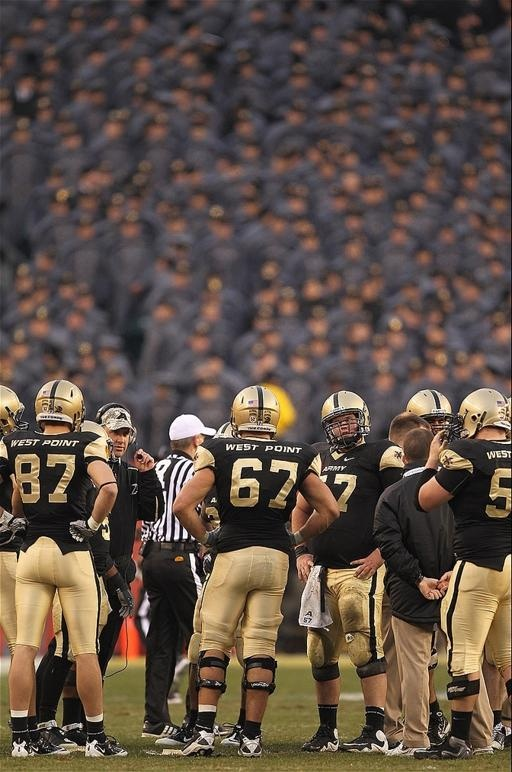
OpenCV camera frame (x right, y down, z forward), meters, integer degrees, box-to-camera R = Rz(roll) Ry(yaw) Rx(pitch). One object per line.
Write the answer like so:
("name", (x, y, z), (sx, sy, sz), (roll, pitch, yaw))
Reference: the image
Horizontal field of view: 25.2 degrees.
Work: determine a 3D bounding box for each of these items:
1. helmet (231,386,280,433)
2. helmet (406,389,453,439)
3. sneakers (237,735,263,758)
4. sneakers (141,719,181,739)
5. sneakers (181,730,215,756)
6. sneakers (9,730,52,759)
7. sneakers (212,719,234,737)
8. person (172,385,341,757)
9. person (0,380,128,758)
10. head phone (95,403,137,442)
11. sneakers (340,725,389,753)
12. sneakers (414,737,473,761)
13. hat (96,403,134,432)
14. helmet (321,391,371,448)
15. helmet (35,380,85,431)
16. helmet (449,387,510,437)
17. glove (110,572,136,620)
("helmet", (0.000, 0.139, 6.754), (0.316, 0.305, 0.406), (3, -5, -11))
("helmet", (1.102, 0.151, 7.326), (0.260, 0.287, 0.312), (1, 5, -32))
("sneakers", (-0.040, 1.956, 6.210), (0.074, 0.075, 0.177), (0, -1, -3))
("sneakers", (-0.607, 2.140, 7.076), (0.288, 0.107, 0.090), (0, 3, 2))
("sneakers", (-0.308, 1.945, 6.198), (0.088, 0.119, 0.243), (5, -13, -19))
("sneakers", (-1.229, 1.983, 6.304), (0.112, 0.114, 0.297), (1, -2, 24))
("sneakers", (-0.200, 2.274, 7.599), (0.079, 0.088, 0.223), (4, 3, 24))
("person", (-0.082, 1.155, 6.362), (0.845, 1.591, 0.959), (8, 20, 12))
("person", (-1.096, 1.160, 6.452), (0.751, 2.207, 1.185), (1, 19, -7))
("head phone", (-0.892, 0.206, 7.393), (0.214, 0.214, 0.281), (16, 14, -35))
("sneakers", (0.626, 2.009, 6.479), (0.337, 0.144, 0.106), (3, -3, -5))
("sneakers", (0.985, 1.893, 5.992), (0.350, 0.124, 0.116), (0, -5, 5))
("hat", (-0.921, 0.199, 7.361), (0.169, 0.126, 0.230), (22, -15, -25))
("helmet", (0.572, 0.198, 7.058), (0.344, 0.252, 0.233), (-10, 1, -33))
("helmet", (-1.141, 0.099, 6.661), (0.280, 0.275, 0.362), (3, 1, 11))
("helmet", (1.229, 0.150, 6.265), (0.308, 0.224, 0.228), (-26, -11, 33))
("glove", (-0.795, 1.311, 7.160), (0.190, 0.265, 0.090), (-10, -5, 37))
